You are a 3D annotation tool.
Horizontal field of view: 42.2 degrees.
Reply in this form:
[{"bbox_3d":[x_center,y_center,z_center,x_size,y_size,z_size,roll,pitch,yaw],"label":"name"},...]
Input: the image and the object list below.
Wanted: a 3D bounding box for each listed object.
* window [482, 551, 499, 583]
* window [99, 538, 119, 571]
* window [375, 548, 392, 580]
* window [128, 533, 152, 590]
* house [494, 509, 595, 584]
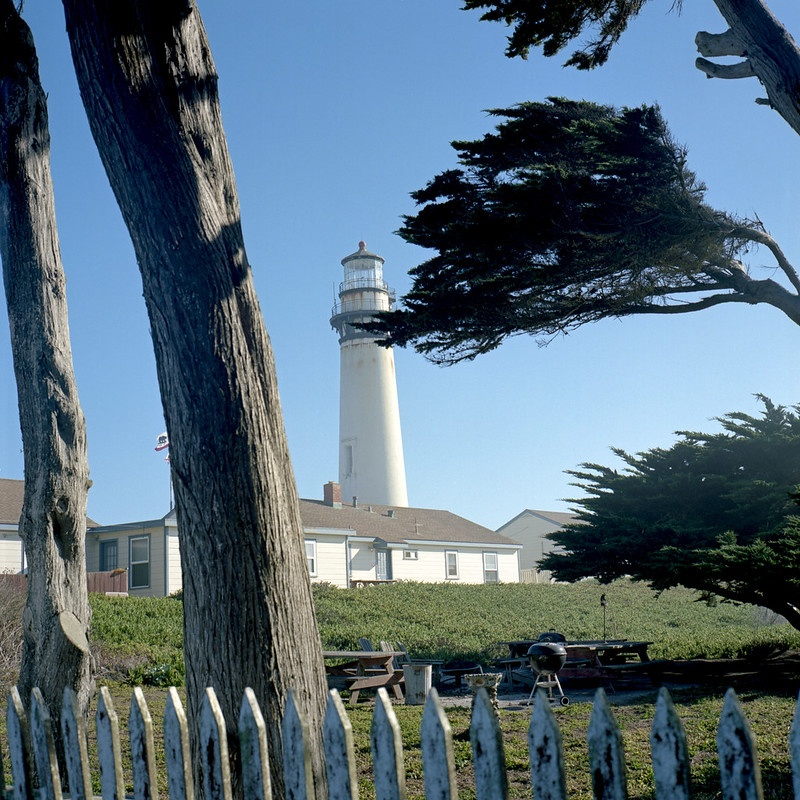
[{"bbox_3d":[3.578,6.708,41.620,0.792,1.831,0.124,9,-19,-34],"label":"window"},{"bbox_3d":[-8.531,4.565,30.613,0.644,1.515,0.093,-8,-11,42],"label":"window"},{"bbox_3d":[-0.619,5.967,37.706,0.776,1.753,0.195,9,-14,-41],"label":"window"},{"bbox_3d":[-7.479,4.684,29.993,0.633,1.700,0.078,-3,22,-22],"label":"window"},{"bbox_3d":[6.553,8.522,52.329,3.716,3.206,4.692,-1,-54,4],"label":"house"}]
